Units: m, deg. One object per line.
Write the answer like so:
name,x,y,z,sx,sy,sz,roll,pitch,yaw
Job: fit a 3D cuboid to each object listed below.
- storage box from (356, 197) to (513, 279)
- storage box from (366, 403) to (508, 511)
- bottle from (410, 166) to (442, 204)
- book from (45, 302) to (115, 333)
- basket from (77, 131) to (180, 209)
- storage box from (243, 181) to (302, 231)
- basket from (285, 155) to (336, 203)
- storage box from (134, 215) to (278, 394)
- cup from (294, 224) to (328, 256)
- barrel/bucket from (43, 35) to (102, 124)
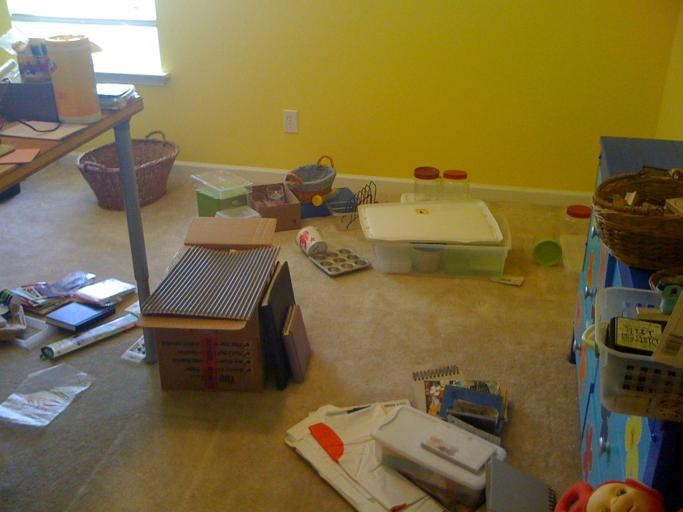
storage box,0.457,-0.110,2.519,0.566,0.176,0.389,2,37,6
storage box,0.277,0.546,1.494,0.321,0.121,0.210,22,35,31
bottle,0.489,-0.408,2.969,0.175,0.177,0.165,-22,36,-23
book,-1.059,0.234,2.138,0.146,0.035,0.148,14,24,18
basket,-1.264,-0.520,3.114,0.550,0.284,0.544,27,38,32
storage box,-0.375,-0.287,2.978,0.236,0.151,0.353,-7,28,-14
basket,-0.187,-0.455,3.071,0.306,0.256,0.261,-11,25,-23
storage box,-0.437,0.183,1.917,0.383,0.403,0.609,1,32,-1
cup,-0.158,-0.079,2.656,0.099,0.115,0.165,-21,31,-40
barrel/bucket,-0.790,-0.534,1.567,0.135,0.238,0.132,5,28,-3
